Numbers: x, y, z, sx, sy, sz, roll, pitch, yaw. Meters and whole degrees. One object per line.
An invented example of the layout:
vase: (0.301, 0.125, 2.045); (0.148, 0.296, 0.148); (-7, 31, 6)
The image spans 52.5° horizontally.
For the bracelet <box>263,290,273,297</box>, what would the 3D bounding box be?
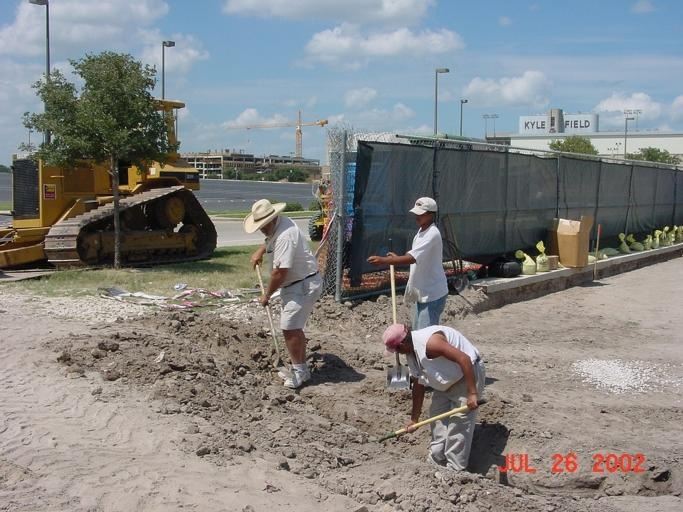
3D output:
bracelet: (-0.834, 0.429, 7.917); (0.065, 0.055, 0.074); (1, -1, 23)

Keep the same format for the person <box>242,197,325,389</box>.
person: (-0.679, 0.442, 8.353); (0.885, 2.247, 0.911); (-2, 5, -9)

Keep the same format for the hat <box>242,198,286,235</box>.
hat: (-0.942, -0.485, 8.299); (0.462, 0.374, 0.537); (-2, 5, -2)

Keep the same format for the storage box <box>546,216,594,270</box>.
storage box: (5.002, -0.331, 15.153); (0.861, 1.074, 0.866); (-8, 12, 0)

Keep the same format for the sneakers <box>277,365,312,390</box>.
sneakers: (-0.565, 1.470, 8.336); (0.174, 0.214, 0.466); (0, -4, 25)

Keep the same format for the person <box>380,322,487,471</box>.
person: (0.971, 1.452, 6.960); (0.883, 1.584, 0.600); (-1, 5, 12)

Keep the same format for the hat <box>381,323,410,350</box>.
hat: (0.546, 0.786, 6.794); (0.149, 0.271, 0.187); (39, -23, -27)

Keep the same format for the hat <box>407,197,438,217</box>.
hat: (0.969, -0.590, 8.186); (0.337, 0.187, 0.236); (-1, 10, -13)
